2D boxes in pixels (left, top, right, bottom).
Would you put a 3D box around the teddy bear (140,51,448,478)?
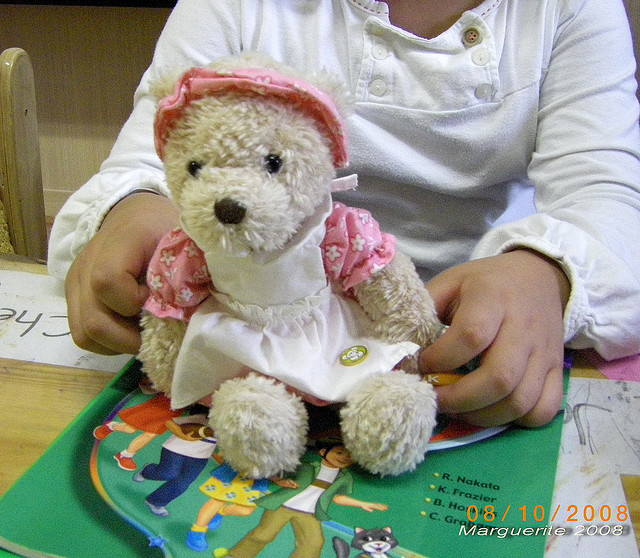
[{"bbox_3d":[-0.036,-0.009,0.464,0.289,0.326,0.211,9,24,25],"label":"teddy bear"}]
